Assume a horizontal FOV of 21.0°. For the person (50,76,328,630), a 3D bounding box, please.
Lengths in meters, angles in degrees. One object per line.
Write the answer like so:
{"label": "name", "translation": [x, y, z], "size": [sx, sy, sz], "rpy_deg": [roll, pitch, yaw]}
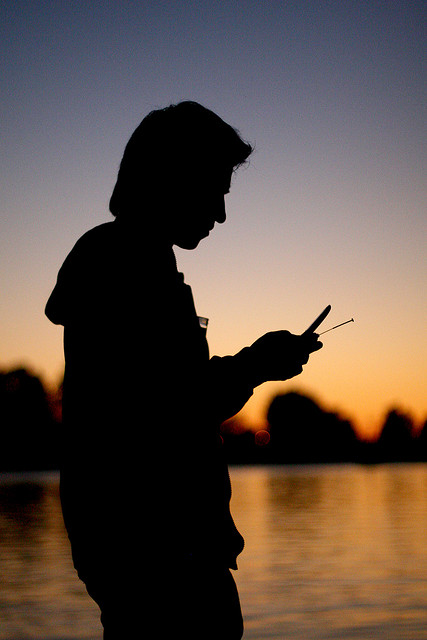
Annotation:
{"label": "person", "translation": [-0.061, 0.054, 2.038], "size": [0.449, 0.938, 0.243], "rpy_deg": [0, -7, -8]}
